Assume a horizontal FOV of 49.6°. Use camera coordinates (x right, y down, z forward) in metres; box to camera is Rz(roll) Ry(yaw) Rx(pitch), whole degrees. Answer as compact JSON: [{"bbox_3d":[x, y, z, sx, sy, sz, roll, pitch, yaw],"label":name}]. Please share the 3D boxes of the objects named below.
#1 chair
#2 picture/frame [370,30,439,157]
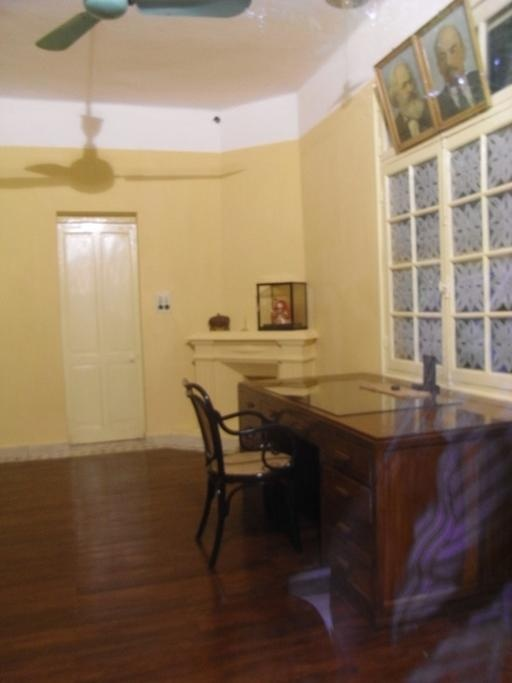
[{"bbox_3d":[-0.143,0.345,1.770,0.435,0.683,0.405,-3,5,-12],"label":"chair"},{"bbox_3d":[0.436,-0.731,1.604,0.026,0.359,0.314,-16,7,-8],"label":"picture/frame"}]
